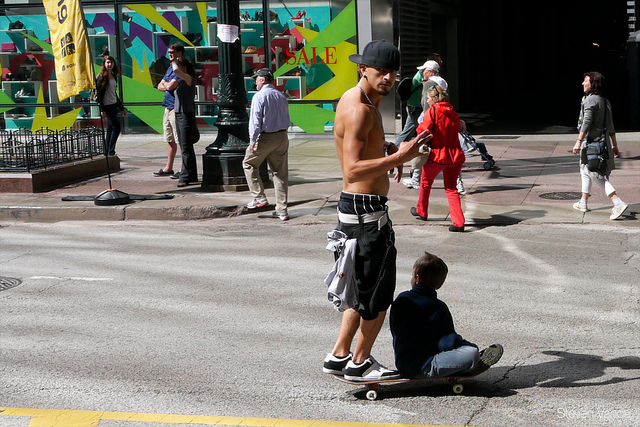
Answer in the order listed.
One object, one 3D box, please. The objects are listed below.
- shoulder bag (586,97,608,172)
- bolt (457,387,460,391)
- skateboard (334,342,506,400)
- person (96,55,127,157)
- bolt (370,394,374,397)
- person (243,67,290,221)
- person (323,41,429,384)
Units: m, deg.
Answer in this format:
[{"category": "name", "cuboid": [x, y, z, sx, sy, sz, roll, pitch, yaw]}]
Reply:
[{"category": "shoulder bag", "cuboid": [4.399, -1.277, 10.239, 0.407, 1.142, 0.219, -3, 13, -13]}, {"category": "bolt", "cuboid": [1.134, 1.446, 5.280, 0.017, 0.029, 0.002, -2, 12, -10]}, {"category": "skateboard", "cuboid": [0.712, 1.308, 5.324, 1.790, 0.233, 0.472, -2, -1, -2]}, {"category": "person", "cuboid": [-5.239, -2.666, 15.941, 0.576, 2.471, 1.492, -3, 11, -14]}, {"category": "bolt", "cuboid": [0.420, 1.494, 5.258, 0.031, 0.023, 0.003, 0, 11, 3]}, {"category": "person", "cuboid": [-0.926, -1.168, 10.922, 0.815, 2.528, 0.792, -1, 11, -4]}, {"category": "person", "cuboid": [0.397, 0.038, 5.302, 0.732, 2.857, 0.648, 0, 11, 2]}]
